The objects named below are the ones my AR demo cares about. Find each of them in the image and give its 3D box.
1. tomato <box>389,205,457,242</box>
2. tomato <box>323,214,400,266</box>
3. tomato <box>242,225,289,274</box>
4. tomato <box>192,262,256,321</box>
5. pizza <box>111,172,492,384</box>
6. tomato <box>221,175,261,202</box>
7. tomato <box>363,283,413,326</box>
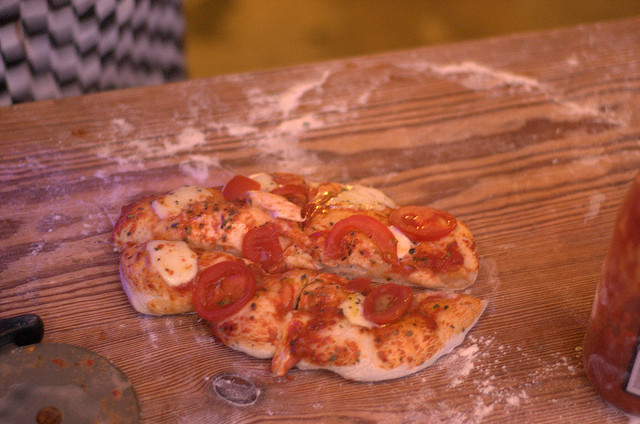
[{"bbox_3d":[0.436,0.037,2.540,0.180,0.051,0.164,-15,36,-14],"label":"tomato"},{"bbox_3d":[0.175,0.108,2.493,0.308,0.128,0.146,6,44,8],"label":"tomato"},{"bbox_3d":[-0.225,0.155,2.510,0.168,0.154,0.133,-10,43,-9],"label":"tomato"},{"bbox_3d":[-0.368,0.305,2.389,0.246,0.149,0.172,-10,44,-8],"label":"tomato"},{"bbox_3d":[-0.062,0.212,2.533,1.500,0.380,0.879,12,45,14],"label":"pizza"},{"bbox_3d":[-0.342,-0.093,2.645,0.162,0.051,0.161,12,45,14],"label":"tomato"},{"bbox_3d":[0.263,0.353,2.399,0.196,0.080,0.226,-7,29,23],"label":"tomato"}]
